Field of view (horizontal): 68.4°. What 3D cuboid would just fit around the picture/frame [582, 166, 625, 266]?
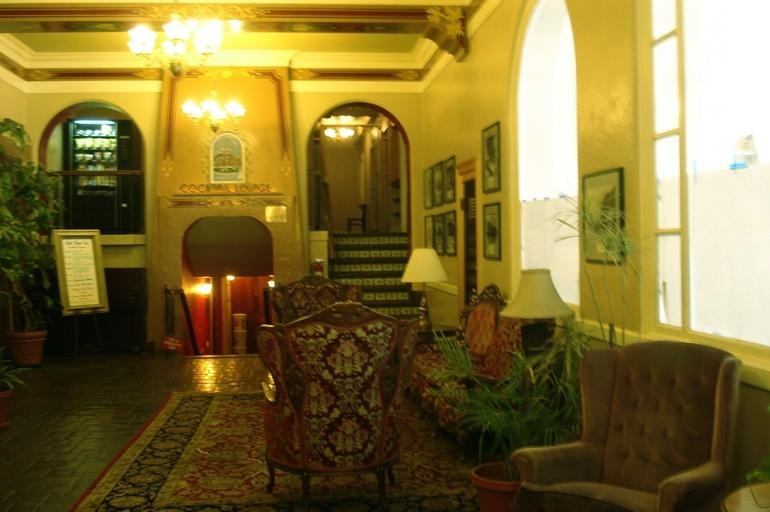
[{"bbox_3d":[1.917,-0.352,4.983,0.367,0.866,1.083,1,4,19],"label":"picture/frame"}]

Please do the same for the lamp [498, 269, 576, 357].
[{"bbox_3d":[1.320,0.476,4.948,0.650,0.694,0.614,-3,4,-31],"label":"lamp"}]

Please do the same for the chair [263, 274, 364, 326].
[{"bbox_3d":[-0.940,0.669,7.618,0.856,0.948,0.803,0,-11,-16],"label":"chair"}]

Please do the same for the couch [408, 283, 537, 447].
[{"bbox_3d":[0.945,1.109,6.311,0.896,1.313,2.199,-14,8,-10],"label":"couch"}]

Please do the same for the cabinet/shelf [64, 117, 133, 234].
[{"bbox_3d":[-5.556,-1.604,11.132,1.493,2.290,0.757,-2,4,-16],"label":"cabinet/shelf"}]

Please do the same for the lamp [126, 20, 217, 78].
[{"bbox_3d":[-2.722,-2.652,7.563,0.807,0.461,0.933,0,4,-36],"label":"lamp"}]
